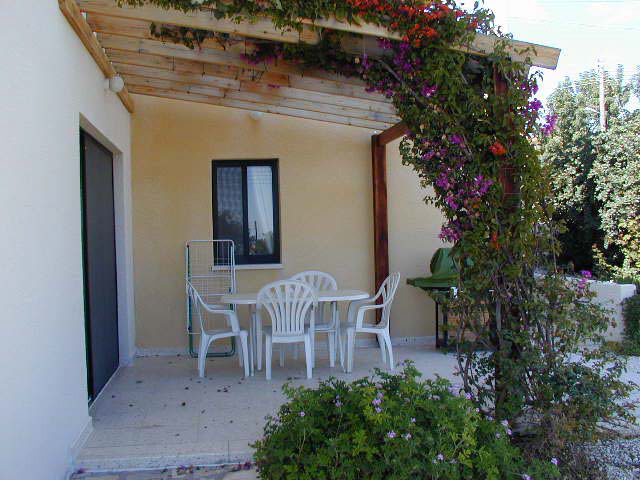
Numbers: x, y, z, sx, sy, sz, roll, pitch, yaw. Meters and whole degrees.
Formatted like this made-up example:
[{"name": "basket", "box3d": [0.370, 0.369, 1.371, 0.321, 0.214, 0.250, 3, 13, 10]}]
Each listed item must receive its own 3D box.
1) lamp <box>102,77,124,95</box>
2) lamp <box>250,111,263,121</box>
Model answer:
[{"name": "lamp", "box3d": [-2.170, -1.644, 6.182, 0.188, 0.144, 0.195, -2, -1, 5]}, {"name": "lamp", "box3d": [-0.860, -1.676, 7.868, 0.101, 0.117, 0.118, 11, 32, 13]}]
